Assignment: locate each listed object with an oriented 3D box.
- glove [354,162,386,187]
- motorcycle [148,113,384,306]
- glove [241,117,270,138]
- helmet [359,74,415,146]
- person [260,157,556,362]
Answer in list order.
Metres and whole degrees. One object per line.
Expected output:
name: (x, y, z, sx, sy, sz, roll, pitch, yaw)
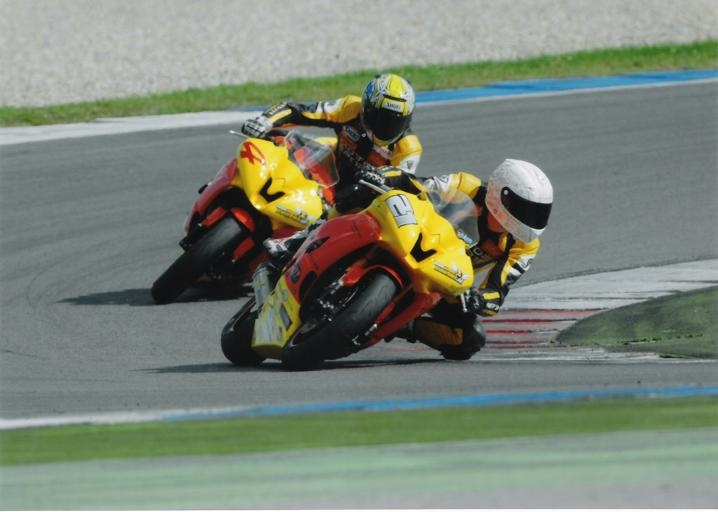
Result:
glove: (0.081, -0.552, 7.085, 0.270, 0.083, 0.244, 21, 7, -1)
motorcycle: (-0.943, -0.413, 8.670, 1.406, 0.872, 2.471, -27, 4, 25)
glove: (-0.917, -1.144, 8.912, 0.189, 0.094, 0.232, 12, 24, 18)
helmet: (0.258, -1.316, 8.802, 0.561, 0.526, 0.609, 9, 26, -10)
person: (1.065, -0.131, 8.092, 1.456, 1.002, 2.427, -20, 5, 15)
